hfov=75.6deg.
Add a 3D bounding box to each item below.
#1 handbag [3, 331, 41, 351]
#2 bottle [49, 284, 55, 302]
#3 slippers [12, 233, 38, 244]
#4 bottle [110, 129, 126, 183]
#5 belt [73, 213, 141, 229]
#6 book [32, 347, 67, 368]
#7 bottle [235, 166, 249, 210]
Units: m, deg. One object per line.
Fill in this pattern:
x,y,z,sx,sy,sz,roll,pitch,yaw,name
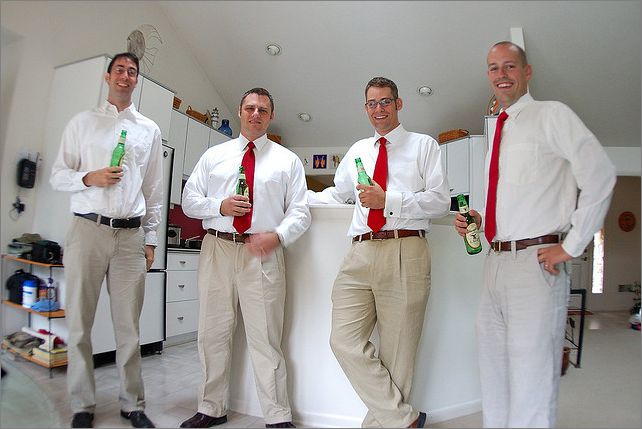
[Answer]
-2.720,1.142,3.760,0.158,0.068,0.207,5,-5,26,handbag
-2.421,0.710,3.751,0.031,0.102,0.073,3,-6,-29,bottle
-2.762,0.222,3.927,0.413,0.101,0.186,-4,-3,38,slippers
-1.436,-0.464,2.931,0.107,0.293,0.195,-1,-3,-25,bottle
-1.528,0.044,2.949,0.422,0.123,0.099,-2,-2,-12,belt
-2.336,1.197,3.588,0.187,0.054,0.192,5,-4,-44,book
-0.563,-0.240,2.946,0.090,0.226,0.058,-3,-3,13,bottle
